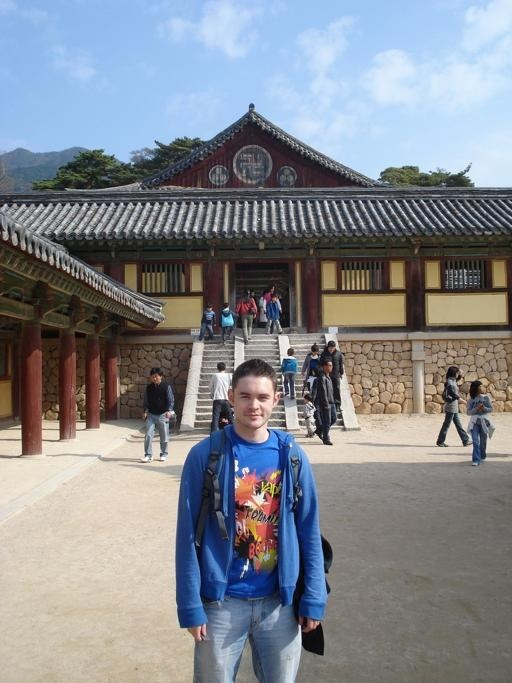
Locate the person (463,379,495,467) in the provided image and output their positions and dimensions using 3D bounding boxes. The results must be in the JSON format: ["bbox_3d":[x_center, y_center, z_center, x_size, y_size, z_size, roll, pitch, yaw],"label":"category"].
[{"bbox_3d":[3.364,1.196,9.541,0.350,1.191,1.083,-2,-3,19],"label":"person"}]

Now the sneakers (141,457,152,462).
[{"bbox_3d":[-1.680,1.804,9.741,0.139,0.092,0.093,0,-3,-16],"label":"sneakers"}]

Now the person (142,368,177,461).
[{"bbox_3d":[-1.577,1.158,10.167,0.487,1.427,1.230,-1,-3,-8],"label":"person"}]
